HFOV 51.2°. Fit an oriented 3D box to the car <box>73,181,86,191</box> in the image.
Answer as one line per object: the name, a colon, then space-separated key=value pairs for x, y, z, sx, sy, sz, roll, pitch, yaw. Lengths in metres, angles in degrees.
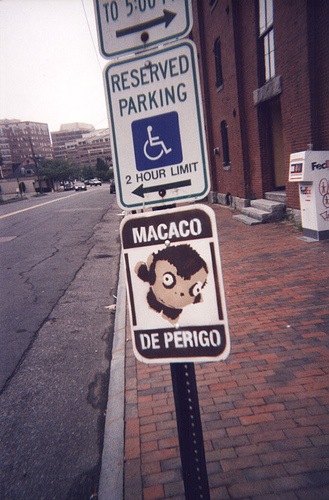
car: x=-15.118 y=-11.458 z=61.212 sx=1.782 sy=1.720 sz=3.191 roll=-4 pitch=14 yaw=-16

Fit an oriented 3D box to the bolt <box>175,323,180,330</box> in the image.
bolt: x=0.048 y=0.290 z=1.298 sx=0.014 sy=0.024 sz=0.008 roll=-3 pitch=-3 yaw=11

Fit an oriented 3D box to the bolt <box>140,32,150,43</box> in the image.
bolt: x=-0.080 y=-0.879 z=1.412 sx=0.037 sy=0.045 sz=0.010 roll=0 pitch=4 yaw=6

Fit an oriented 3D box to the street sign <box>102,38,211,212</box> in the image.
street sign: x=-0.036 y=-0.493 z=1.367 sx=0.414 sy=0.634 sz=0.149 roll=-4 pitch=8 yaw=22

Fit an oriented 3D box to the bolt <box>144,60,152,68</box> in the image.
bolt: x=-0.064 y=-0.714 z=1.315 sx=0.031 sy=0.032 sz=0.005 roll=-5 pitch=8 yaw=22
